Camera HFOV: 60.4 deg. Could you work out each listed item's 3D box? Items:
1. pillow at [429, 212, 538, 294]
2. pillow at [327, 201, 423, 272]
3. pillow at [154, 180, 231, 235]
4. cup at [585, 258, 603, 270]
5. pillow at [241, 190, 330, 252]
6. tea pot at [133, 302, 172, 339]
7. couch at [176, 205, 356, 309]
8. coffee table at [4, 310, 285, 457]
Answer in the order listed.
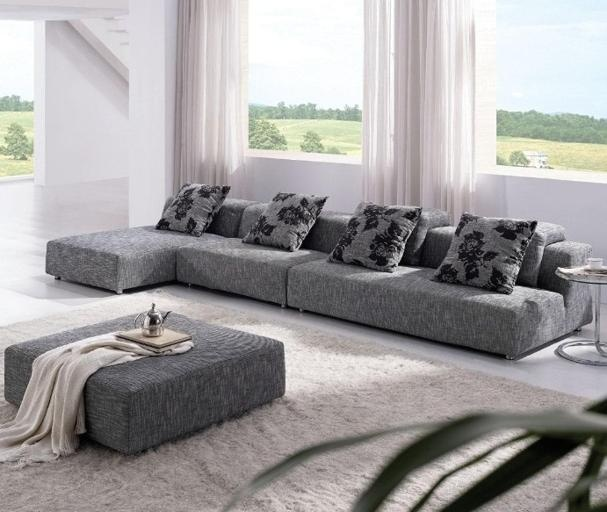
[{"bbox_3d":[1.501,-0.021,4.241,0.769,0.643,0.227,13,-17,46],"label":"pillow"},{"bbox_3d":[0.699,-0.200,4.789,0.782,0.648,0.229,15,-20,44],"label":"pillow"},{"bbox_3d":[-1.148,-0.519,6.163,0.797,0.661,0.225,21,-19,42],"label":"pillow"},{"bbox_3d":[2.216,0.053,3.939,0.123,0.061,0.093,-7,2,10],"label":"cup"},{"bbox_3d":[-0.151,-0.391,5.431,0.801,0.659,0.229,17,-22,45],"label":"pillow"},{"bbox_3d":[-0.918,0.403,3.281,0.313,0.195,0.165,-2,9,-19],"label":"tea pot"},{"bbox_3d":[-0.283,-0.171,5.392,1.635,0.728,1.152,8,9,39],"label":"couch"},{"bbox_3d":[-0.707,0.725,3.039,1.003,0.281,0.940,6,8,43],"label":"coffee table"}]
